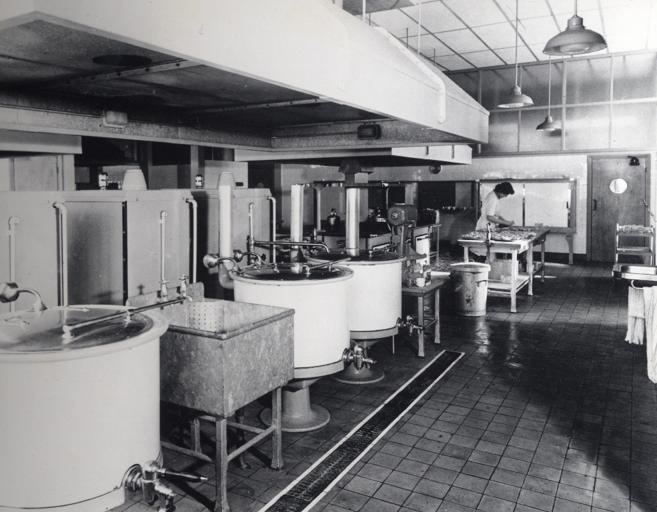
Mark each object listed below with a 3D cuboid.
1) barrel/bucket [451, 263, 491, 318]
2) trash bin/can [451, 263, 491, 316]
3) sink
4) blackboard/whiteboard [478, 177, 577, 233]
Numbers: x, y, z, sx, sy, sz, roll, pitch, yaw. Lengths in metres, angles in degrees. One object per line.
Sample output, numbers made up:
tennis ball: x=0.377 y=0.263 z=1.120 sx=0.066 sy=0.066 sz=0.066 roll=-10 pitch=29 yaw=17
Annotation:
barrel/bucket: x=1.668 y=0.429 z=7.200 sx=0.577 sy=0.679 sz=0.596 roll=-1 pitch=-2 yaw=0
trash bin/can: x=1.639 y=0.428 z=7.139 sx=0.571 sy=0.657 sz=0.591 roll=-2 pitch=-1 yaw=-22
sink: x=-0.680 y=0.521 z=3.218 sx=0.835 sy=0.667 sz=0.867 roll=1 pitch=4 yaw=29
blackboard/whiteboard: x=3.983 y=-0.977 z=10.919 sx=1.313 sy=0.838 sz=0.469 roll=1 pitch=2 yaw=25
